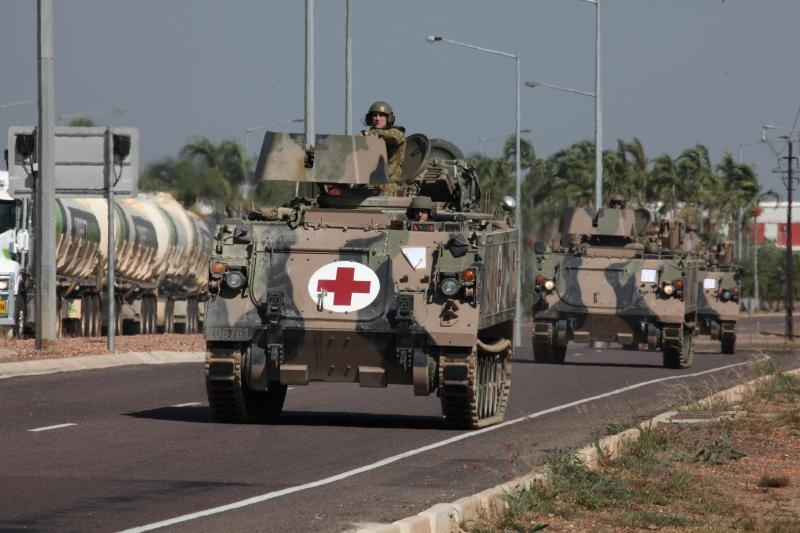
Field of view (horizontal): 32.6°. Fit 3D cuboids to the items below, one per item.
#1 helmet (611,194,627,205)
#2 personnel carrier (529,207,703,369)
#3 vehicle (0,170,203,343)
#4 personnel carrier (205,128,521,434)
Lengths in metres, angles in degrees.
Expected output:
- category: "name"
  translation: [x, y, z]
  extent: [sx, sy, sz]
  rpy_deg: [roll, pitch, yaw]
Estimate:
- category: "helmet"
  translation: [6.569, -1.935, 41.543]
  extent: [0.431, 0.435, 0.588]
  rpy_deg: [0, -2, 7]
- category: "personnel carrier"
  translation: [6.221, 0.584, 39.915]
  extent: [4.583, 4.757, 4.098]
  rpy_deg: [0, -2, 11]
- category: "vehicle"
  translation: [-9.182, -0.153, 43.605]
  extent: [1.249, 4.895, 14.180]
  rpy_deg: [0, -3, 12]
- category: "personnel carrier"
  translation: [-0.710, 0.158, 25.923]
  extent: [5.451, 5.659, 3.984]
  rpy_deg: [0, -2, 2]
